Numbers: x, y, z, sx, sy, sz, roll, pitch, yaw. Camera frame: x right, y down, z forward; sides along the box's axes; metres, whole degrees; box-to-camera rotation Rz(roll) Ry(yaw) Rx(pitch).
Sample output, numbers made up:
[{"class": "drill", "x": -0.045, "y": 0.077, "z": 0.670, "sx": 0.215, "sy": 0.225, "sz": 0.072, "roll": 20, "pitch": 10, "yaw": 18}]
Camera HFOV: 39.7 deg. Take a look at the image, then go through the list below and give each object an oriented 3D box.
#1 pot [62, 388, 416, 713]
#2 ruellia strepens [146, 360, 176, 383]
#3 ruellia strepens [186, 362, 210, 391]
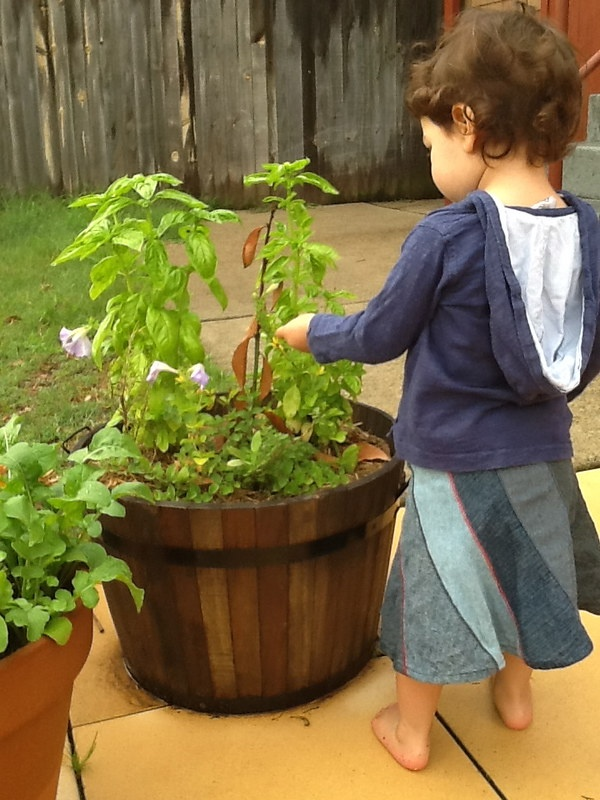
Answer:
[{"class": "pot", "x": -0.122, "y": 0.306, "z": 1.872, "sx": 0.676, "sy": 0.376, "sz": 0.666, "roll": -1, "pitch": 11, "yaw": 0}, {"class": "ruellia strepens", "x": -0.270, "y": -0.056, "z": 1.605, "sx": 0.054, "sy": 0.047, "sz": 0.014, "roll": -6, "pitch": 54, "yaw": -19}, {"class": "ruellia strepens", "x": -0.196, "y": -0.049, "z": 1.660, "sx": 0.042, "sy": 0.044, "sz": 0.057, "roll": 16, "pitch": -7, "yaw": 1}]
